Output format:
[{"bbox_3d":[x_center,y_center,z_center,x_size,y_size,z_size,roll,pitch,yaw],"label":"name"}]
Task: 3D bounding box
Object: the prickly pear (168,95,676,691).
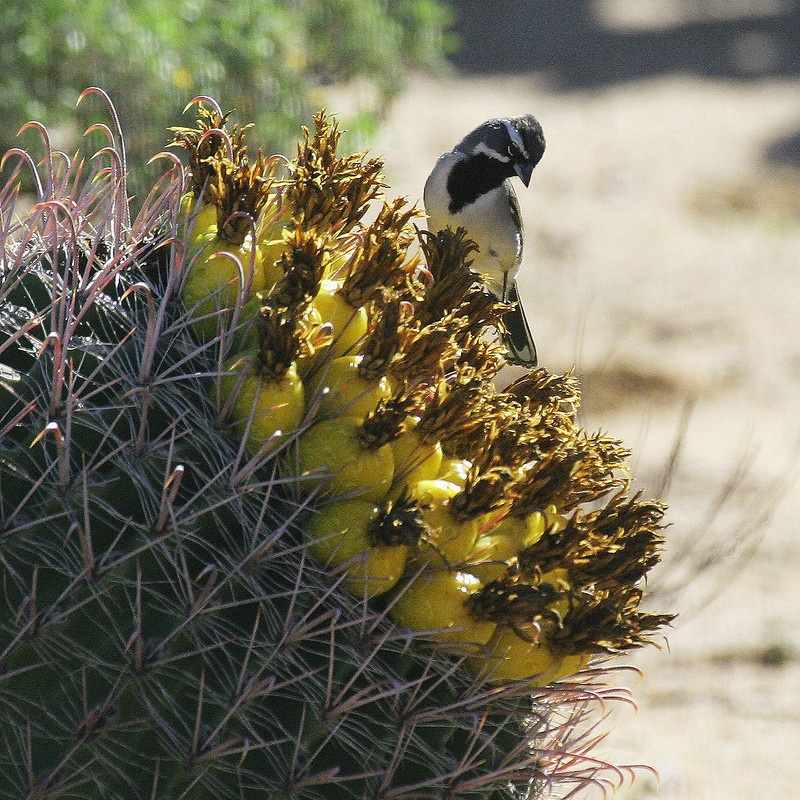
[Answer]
[{"bbox_3d":[0.027,0.010,3.476,1.331,0.606,1.268,40,21,-23],"label":"prickly pear"}]
